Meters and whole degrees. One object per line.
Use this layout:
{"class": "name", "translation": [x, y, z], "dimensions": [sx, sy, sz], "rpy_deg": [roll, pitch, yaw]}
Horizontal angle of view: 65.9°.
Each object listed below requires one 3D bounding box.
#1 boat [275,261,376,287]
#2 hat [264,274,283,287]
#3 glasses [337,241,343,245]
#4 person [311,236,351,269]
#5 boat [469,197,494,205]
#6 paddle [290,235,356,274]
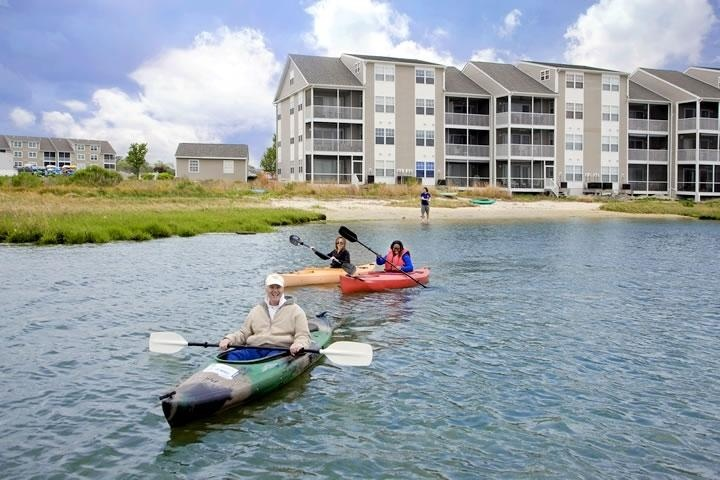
{"class": "boat", "translation": [-1.391, 1.143, 17.502], "dimensions": [4.683, 0.617, 0.949], "rpy_deg": [0, 4, -41]}
{"class": "hat", "translation": [-1.563, 0.715, 10.104], "dimensions": [0.271, 0.209, 0.364], "rpy_deg": [-3, 12, -16]}
{"class": "glasses", "translation": [-0.612, 0.113, 17.590], "dimensions": [0.129, 0.163, 0.163], "rpy_deg": [0, 8, 5]}
{"class": "person", "translation": [-1.095, 0.473, 20.473], "dimensions": [0.729, 1.439, 0.862], "rpy_deg": [-15, -24, 29]}
{"class": "boat", "translation": [10.887, -3.403, 49.353], "dimensions": [2.412, 0.403, 2.121], "rpy_deg": [0, 11, -5]}
{"class": "paddle", "translation": [-0.692, 0.482, 17.703], "dimensions": [0.390, 0.904, 2.813], "rpy_deg": [0, -15, 43]}
